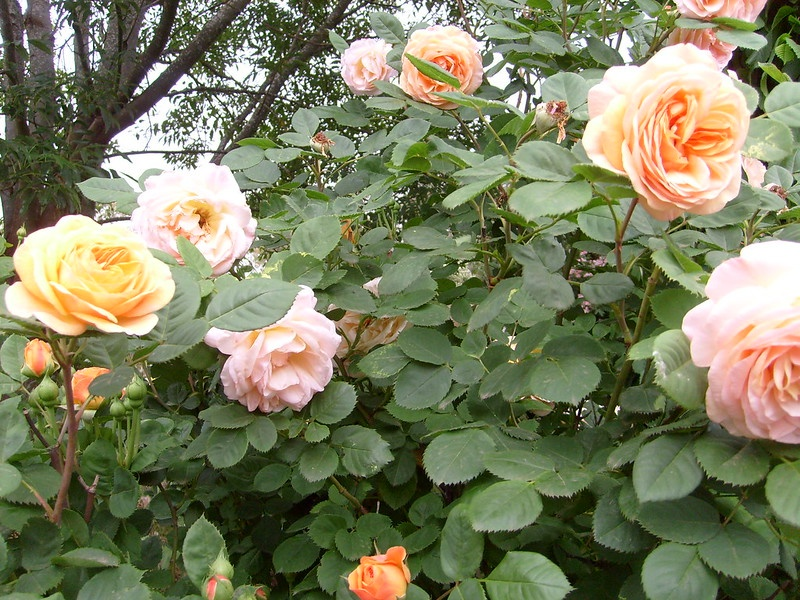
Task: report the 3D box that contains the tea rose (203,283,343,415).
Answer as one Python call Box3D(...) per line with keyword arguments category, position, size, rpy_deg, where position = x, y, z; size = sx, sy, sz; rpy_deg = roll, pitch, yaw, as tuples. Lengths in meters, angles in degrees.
Box3D(category="tea rose", position=(-0.278, 0.103, 1.309), size=(0.302, 0.151, 0.299), rpy_deg=(23, 39, 29))

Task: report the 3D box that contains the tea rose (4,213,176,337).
Box3D(category="tea rose", position=(-0.467, -0.025, 0.897), size=(0.215, 0.127, 0.197), rpy_deg=(-18, 81, -37))

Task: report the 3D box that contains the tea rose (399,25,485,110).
Box3D(category="tea rose", position=(0.119, -0.723, 1.757), size=(0.236, 0.250, 0.259), rpy_deg=(19, 19, 11))

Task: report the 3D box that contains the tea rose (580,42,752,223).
Box3D(category="tea rose", position=(0.455, -0.278, 0.972), size=(0.280, 0.268, 0.137), rpy_deg=(13, 20, -7))
